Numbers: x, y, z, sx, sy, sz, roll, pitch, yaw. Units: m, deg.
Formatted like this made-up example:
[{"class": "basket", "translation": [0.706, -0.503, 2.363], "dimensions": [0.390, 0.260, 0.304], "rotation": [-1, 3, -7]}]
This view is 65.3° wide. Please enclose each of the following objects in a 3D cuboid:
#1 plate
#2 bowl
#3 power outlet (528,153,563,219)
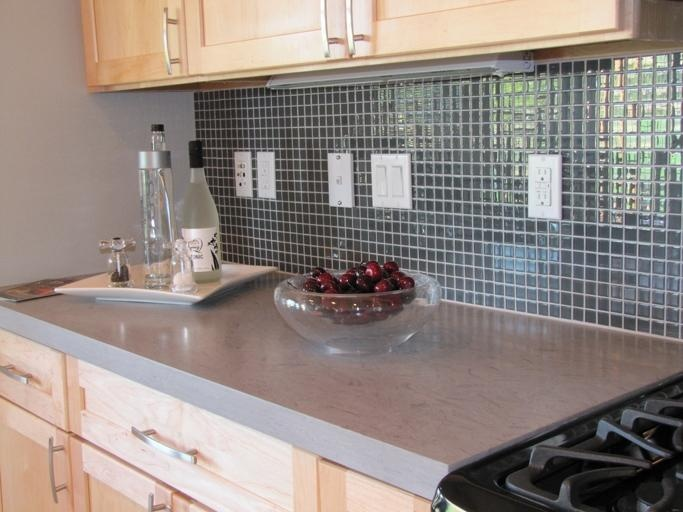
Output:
[{"class": "plate", "translation": [-0.506, 0.074, 1.565], "dimensions": [0.577, 0.055, 0.350], "rotation": [-1, 12, 15]}, {"class": "bowl", "translation": [0.040, 0.078, 1.094], "dimensions": [0.283, 0.141, 0.297], "rotation": [-4, 9, 1]}, {"class": "power outlet", "translation": [0.448, -0.149, 1.168], "dimensions": [0.075, 0.145, 0.020], "rotation": [6, 17, 41]}]
